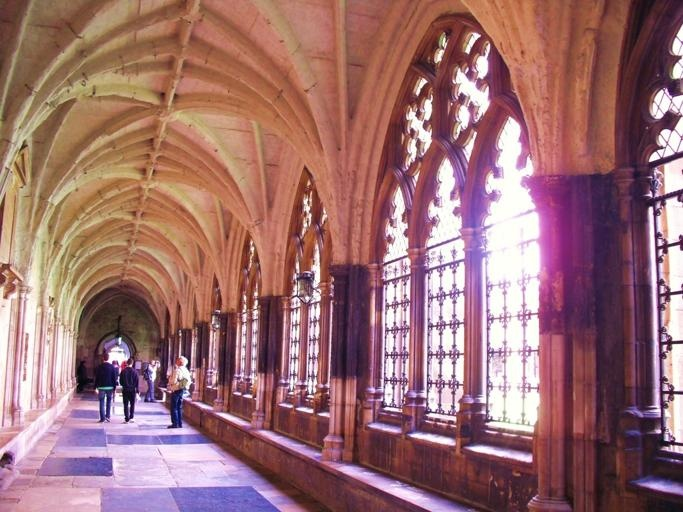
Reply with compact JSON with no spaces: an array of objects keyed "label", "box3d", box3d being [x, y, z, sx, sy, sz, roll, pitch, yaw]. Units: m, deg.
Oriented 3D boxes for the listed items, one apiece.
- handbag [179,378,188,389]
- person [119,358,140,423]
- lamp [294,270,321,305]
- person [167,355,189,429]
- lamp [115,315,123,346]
[{"label":"handbag","box3d":[-3.757,2.990,14.729,0.184,0.215,0.150,-5,-6,22]},{"label":"person","box3d":[-5.573,3.468,16.223,0.435,1.577,1.539,-1,-7,-19]},{"label":"lamp","box3d":[-0.579,0.546,11.215,0.479,0.909,0.482,1,-7,0]},{"label":"person","box3d":[-3.983,3.285,15.172,0.468,1.695,0.538,5,-9,-13]},{"label":"lamp","box3d":[-15.573,5.041,43.372,0.379,2.007,0.789,-1,-6,-21]}]
